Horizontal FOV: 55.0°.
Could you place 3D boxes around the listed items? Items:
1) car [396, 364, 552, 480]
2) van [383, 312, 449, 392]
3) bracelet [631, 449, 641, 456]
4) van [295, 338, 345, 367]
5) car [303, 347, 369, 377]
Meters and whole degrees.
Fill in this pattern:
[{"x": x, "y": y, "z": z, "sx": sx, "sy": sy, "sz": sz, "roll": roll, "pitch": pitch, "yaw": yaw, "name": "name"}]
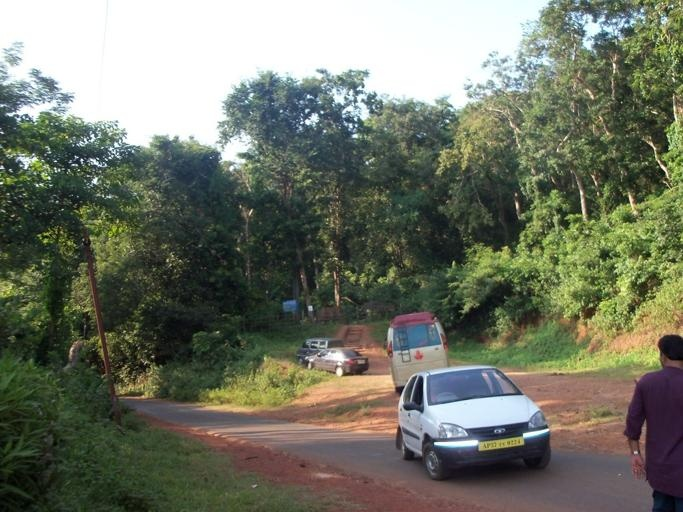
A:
[{"x": 3.210, "y": 4.101, "z": 16.422, "sx": 3.644, "sy": 2.729, "sz": 2.147, "roll": -10, "pitch": -11, "yaw": 18, "name": "car"}, {"x": 3.080, "y": 3.573, "z": 27.756, "sx": 1.775, "sy": 2.290, "sz": 3.496, "roll": -3, "pitch": 1, "yaw": 0, "name": "van"}, {"x": 5.364, "y": 3.597, "z": 12.021, "sx": 0.162, "sy": 0.092, "sz": 0.238, "roll": -2, "pitch": -4, "yaw": 9, "name": "bracelet"}, {"x": -1.625, "y": 6.105, "z": 41.657, "sx": 2.462, "sy": 1.560, "sz": 1.595, "roll": 3, "pitch": 0, "yaw": 39, "name": "van"}, {"x": -0.122, "y": 6.227, "z": 38.527, "sx": 1.461, "sy": 1.204, "sz": 3.133, "roll": 3, "pitch": -2, "yaw": -39, "name": "car"}]
